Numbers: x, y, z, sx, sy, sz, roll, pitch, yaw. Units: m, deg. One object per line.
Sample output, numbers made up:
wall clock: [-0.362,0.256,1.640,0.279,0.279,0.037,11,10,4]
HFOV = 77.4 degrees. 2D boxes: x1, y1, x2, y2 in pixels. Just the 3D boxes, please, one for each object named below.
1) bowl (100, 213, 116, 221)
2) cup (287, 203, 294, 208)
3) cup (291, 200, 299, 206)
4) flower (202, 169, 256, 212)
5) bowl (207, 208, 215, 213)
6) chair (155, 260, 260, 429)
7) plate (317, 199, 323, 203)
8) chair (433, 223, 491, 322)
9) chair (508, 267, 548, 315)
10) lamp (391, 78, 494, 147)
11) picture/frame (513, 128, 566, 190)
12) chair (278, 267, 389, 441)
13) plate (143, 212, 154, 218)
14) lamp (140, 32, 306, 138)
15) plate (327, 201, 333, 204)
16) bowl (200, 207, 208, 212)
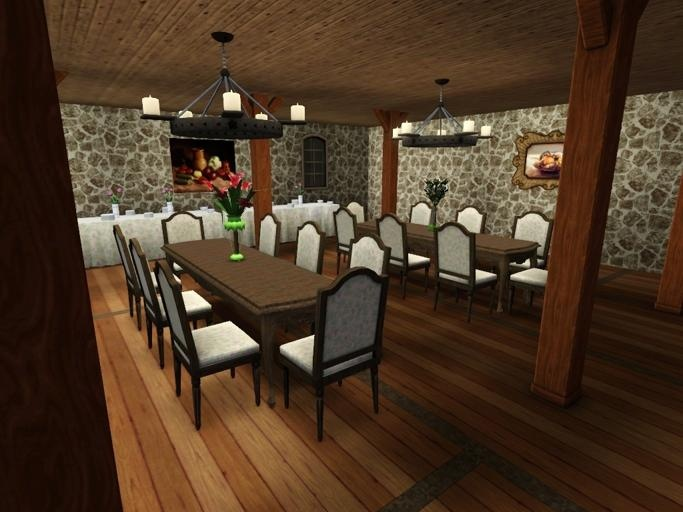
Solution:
bowl: [-3.552,-0.596,6.475,0.188,0.089,0.278,-8,15,-27]
cup: [-1.041,-1.047,8.748,0.135,0.096,0.132,0,2,0]
cup: [-0.952,-1.116,8.861,0.158,0.143,0.152,-1,10,0]
flower: [-0.971,-0.522,3.857,0.487,0.336,0.456,-4,1,8]
bowl: [-2.352,-0.818,7.639,0.185,0.064,0.165,-7,14,-32]
chair: [-0.885,0.538,2.868,0.646,0.991,0.560,-3,13,-27]
plate: [-0.472,-1.265,9.758,0.111,0.041,0.111,0,2,36]
chair: [1.298,0.109,4.453,0.678,0.935,0.649,-1,11,-4]
chair: [2.058,0.402,4.496,0.579,0.327,0.360,3,7,-39]
lamp: [1.209,-1.763,5.221,1.204,0.803,1.318,10,17,34]
picture/frame: [3.328,-1.630,7.262,0.127,0.987,0.864,-11,18,-33]
chair: [-0.064,0.542,2.769,0.637,0.956,0.617,6,13,39]
plate: [-3.081,-0.655,6.787,0.125,0.068,0.122,0,3,4]
lamp: [-0.848,-1.263,3.150,1.163,0.716,1.142,-11,17,-41]
plate: [-0.271,-1.250,9.904,0.154,0.061,0.149,-2,7,-15]
bowl: [-2.490,-0.848,7.663,0.158,0.069,0.154,0,4,0]
